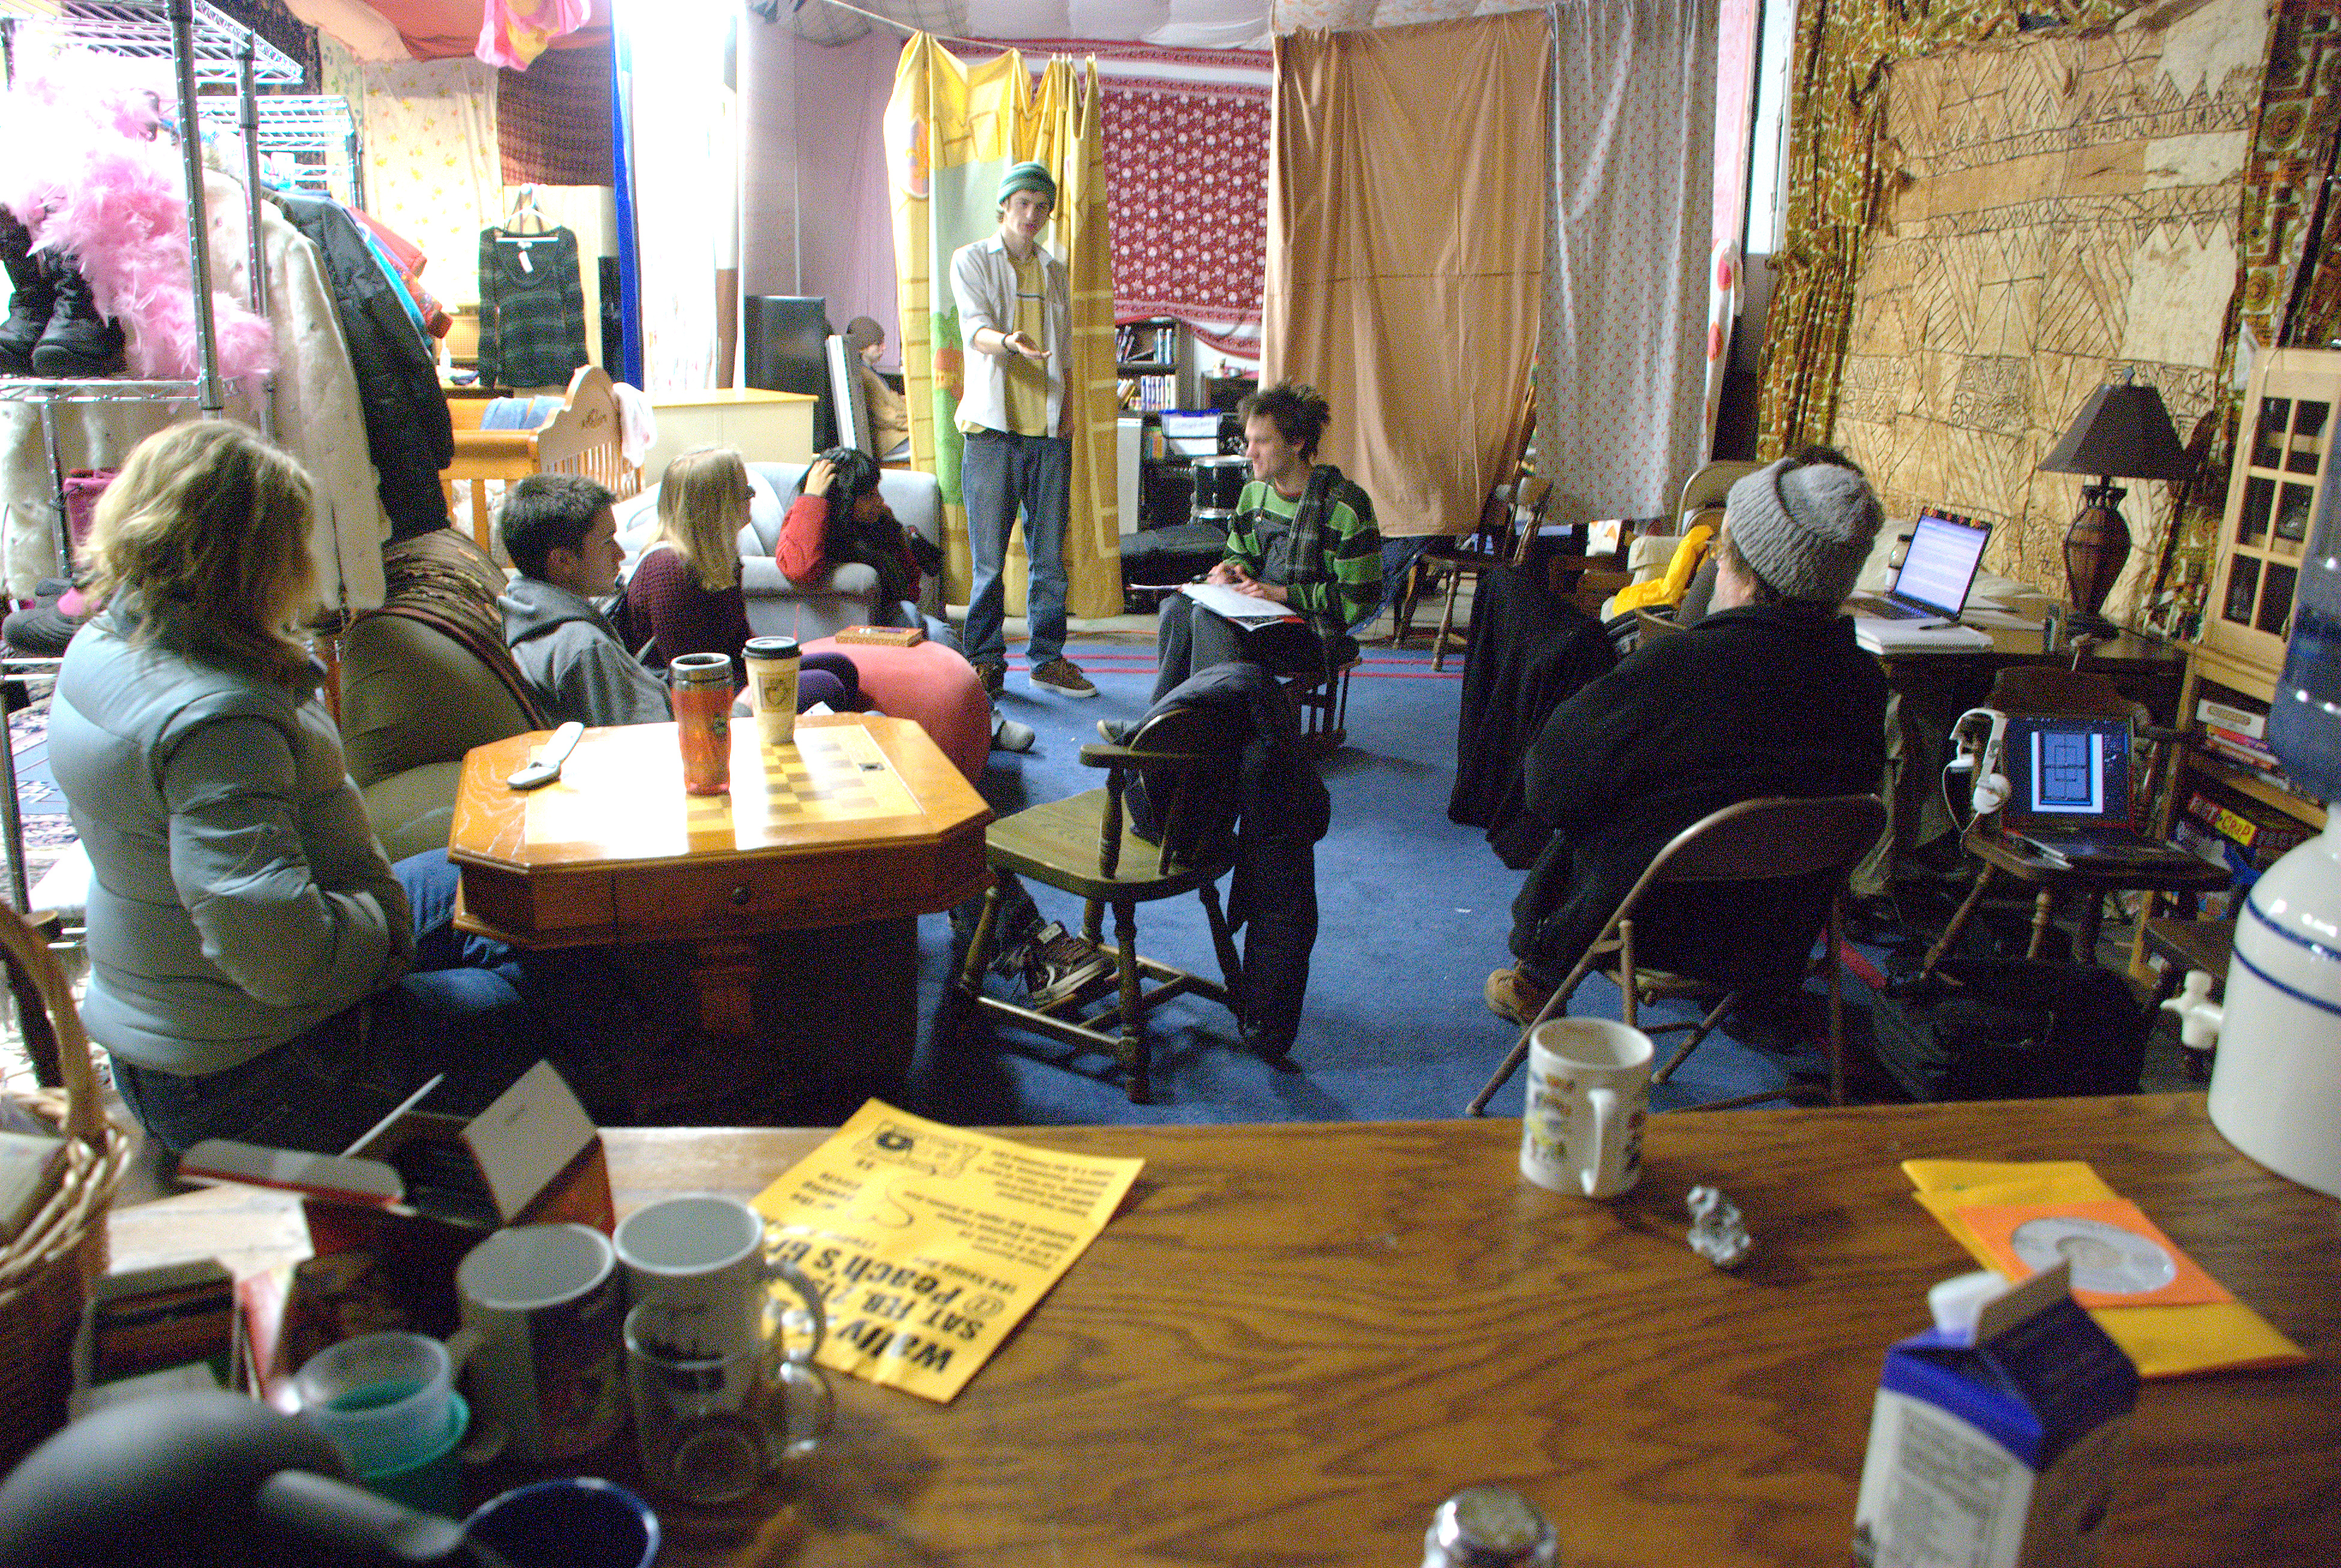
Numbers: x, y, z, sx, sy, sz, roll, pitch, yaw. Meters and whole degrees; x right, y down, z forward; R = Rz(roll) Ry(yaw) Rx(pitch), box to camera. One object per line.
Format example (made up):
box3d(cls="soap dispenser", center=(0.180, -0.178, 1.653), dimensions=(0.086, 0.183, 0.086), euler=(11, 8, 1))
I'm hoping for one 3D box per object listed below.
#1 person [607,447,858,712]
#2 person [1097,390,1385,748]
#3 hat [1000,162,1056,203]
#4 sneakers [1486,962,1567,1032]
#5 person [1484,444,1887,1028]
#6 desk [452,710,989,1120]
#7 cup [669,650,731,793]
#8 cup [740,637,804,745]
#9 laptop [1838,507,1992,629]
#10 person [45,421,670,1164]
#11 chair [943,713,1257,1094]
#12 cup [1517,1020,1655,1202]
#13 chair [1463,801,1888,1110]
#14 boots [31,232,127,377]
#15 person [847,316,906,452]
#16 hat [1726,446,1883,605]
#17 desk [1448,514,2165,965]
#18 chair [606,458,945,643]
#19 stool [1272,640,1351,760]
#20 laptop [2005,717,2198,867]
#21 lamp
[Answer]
box3d(cls="person", center=(-1.097, -0.418, 4.329), dimensions=(0.664, 0.896, 0.396), euler=(-3, 23, -8))
box3d(cls="person", center=(0.274, -0.651, 5.432), dimensions=(0.760, 1.251, 0.654), euler=(-12, 22, -32))
box3d(cls="hat", center=(-0.496, -2.093, 5.815), dimensions=(0.148, 0.109, 0.192), euler=(2, 15, -4))
box3d(cls="sneakers", center=(0.796, 0.476, 3.820), dimensions=(0.098, 0.135, 0.196), euler=(-8, 31, -14))
box3d(cls="person", center=(1.044, -0.050, 3.340), dimensions=(0.678, 1.206, 0.691), euler=(18, 17, 42))
box3d(cls="desk", center=(-0.802, 0.244, 3.023), dimensions=(0.921, 0.631, 0.705), euler=(-5, 28, -22))
box3d(cls="cup", center=(-0.785, -0.104, 2.792), dimensions=(0.089, 0.232, 0.168), euler=(-3, 18, -17))
box3d(cls="cup", center=(-0.728, -0.165, 3.052), dimensions=(0.124, 0.181, 0.121), euler=(0, 6, 0))
box3d(cls="laptop", center=(2.025, -0.623, 4.710), dimensions=(0.351, 0.303, 0.429), euler=(7, 15, 0))
box3d(cls="person", center=(-1.361, 0.138, 2.831), dimensions=(0.904, 1.424, 0.686), euler=(-8, 23, -41))
box3d(cls="chair", center=(-0.135, 0.201, 3.651), dimensions=(0.651, 0.758, 0.648), euler=(-4, 15, -29))
box3d(cls="cup", center=(0.462, 0.370, 1.818), dimensions=(0.132, 0.155, 0.207), euler=(2, 19, 2))
box3d(cls="chair", center=(0.970, 0.366, 3.222), dimensions=(0.538, 0.821, 0.645), euler=(-3, 14, -18))
box3d(cls="boots", center=(-2.059, -0.911, 3.132), dimensions=(0.112, 0.245, 0.259), euler=(0, 28, -10))
box3d(cls="person", center=(-1.392, -1.859, 7.895), dimensions=(0.250, 0.636, 1.094), euler=(-1, 17, -10))
box3d(cls="hat", center=(1.228, -0.507, 3.162), dimensions=(0.272, 0.268, 0.324), euler=(7, -5, -14))
box3d(cls="desk", center=(1.048, -0.128, 3.540), dimensions=(0.828, 0.869, 0.889), euler=(-1, 43, -10))
box3d(cls="chair", center=(-1.109, -0.693, 5.516), dimensions=(0.564, 0.510, 0.566), euler=(5, -8, -31))
box3d(cls="stool", center=(0.507, -0.296, 5.504), dimensions=(0.334, 0.371, 0.393), euler=(-1, 17, 3))
box3d(cls="laptop", center=(1.982, -0.010, 3.561), dimensions=(0.398, 0.256, 0.223), euler=(1, 2, -23))
box3d(cls="lamp", center=(2.399, -0.702, 4.295), dimensions=(0.388, 0.595, 0.373), euler=(9, 2, 9))
